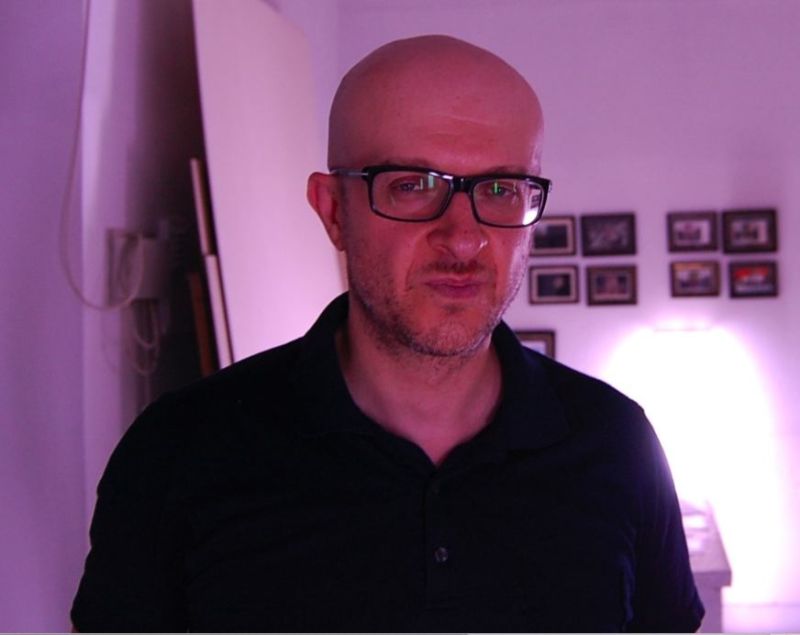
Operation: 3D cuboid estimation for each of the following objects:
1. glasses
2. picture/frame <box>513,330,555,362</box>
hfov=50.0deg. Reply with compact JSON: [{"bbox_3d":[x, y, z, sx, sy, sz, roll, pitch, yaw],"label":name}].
[{"bbox_3d":[0.147,-0.313,2.259,0.502,0.157,0.094,1,2,-2],"label":"glasses"},{"bbox_3d":[0.528,0.108,3.310,0.146,0.173,0.012,1,-3,-3],"label":"picture/frame"}]
